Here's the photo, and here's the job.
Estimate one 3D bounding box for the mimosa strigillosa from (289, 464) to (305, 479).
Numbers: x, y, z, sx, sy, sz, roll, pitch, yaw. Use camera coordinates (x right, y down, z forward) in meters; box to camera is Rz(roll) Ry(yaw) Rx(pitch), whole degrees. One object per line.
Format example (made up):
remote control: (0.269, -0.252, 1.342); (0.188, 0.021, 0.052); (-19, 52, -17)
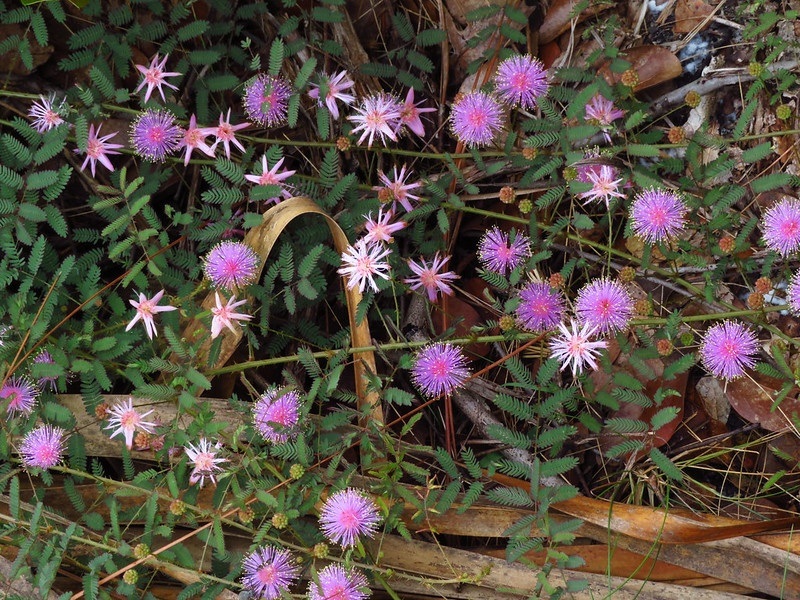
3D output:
mimosa strigillosa: (-0.461, 0.757, 3.412); (0.059, 0.035, 0.064); (-21, 110, 0)

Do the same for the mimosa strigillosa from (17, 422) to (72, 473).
mimosa strigillosa: (-1.624, 0.673, 3.529); (0.194, 0.093, 0.221); (-18, 62, -16)

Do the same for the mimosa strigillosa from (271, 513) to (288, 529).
mimosa strigillosa: (-0.524, 0.959, 3.392); (0.067, 0.037, 0.069); (41, 77, -14)

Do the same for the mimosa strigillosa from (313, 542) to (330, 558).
mimosa strigillosa: (-0.350, 1.117, 3.434); (0.066, 0.050, 0.077); (18, 81, 0)

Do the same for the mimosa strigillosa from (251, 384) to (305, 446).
mimosa strigillosa: (-0.567, 0.526, 3.523); (0.232, 0.123, 0.258); (1, 67, 9)

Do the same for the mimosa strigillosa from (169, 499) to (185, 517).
mimosa strigillosa: (-0.966, 0.918, 3.376); (0.064, 0.043, 0.075); (12, 106, 0)

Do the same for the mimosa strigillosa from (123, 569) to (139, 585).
mimosa strigillosa: (-1.176, 1.219, 3.384); (0.065, 0.031, 0.074); (14, 71, -23)

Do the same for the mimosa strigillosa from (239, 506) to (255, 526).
mimosa strigillosa: (-0.678, 0.942, 3.419); (0.068, 0.041, 0.082); (-15, 96, -9)

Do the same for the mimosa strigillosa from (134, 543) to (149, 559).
mimosa strigillosa: (-1.130, 1.113, 3.410); (0.058, 0.055, 0.067); (8, 49, -4)

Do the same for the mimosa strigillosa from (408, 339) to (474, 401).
mimosa strigillosa: (0.183, 0.339, 3.653); (0.259, 0.263, 0.220); (-20, 64, -1)
